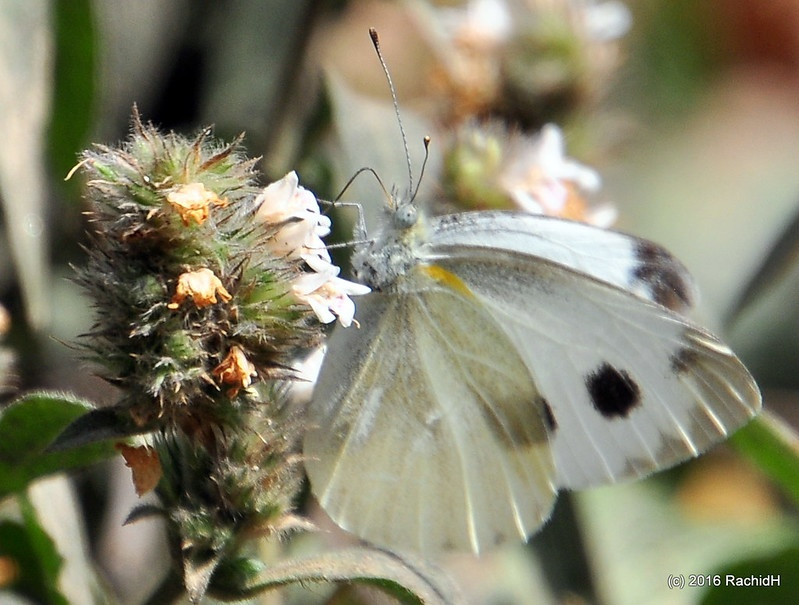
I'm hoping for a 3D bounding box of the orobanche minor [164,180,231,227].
[{"bbox_3d":[-0.542,-0.255,2.895,0.155,0.102,0.065,17,22,-12],"label":"orobanche minor"}]

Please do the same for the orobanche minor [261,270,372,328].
[{"bbox_3d":[-0.209,-0.036,3.085,0.144,0.188,0.113,-3,12,-37],"label":"orobanche minor"}]
